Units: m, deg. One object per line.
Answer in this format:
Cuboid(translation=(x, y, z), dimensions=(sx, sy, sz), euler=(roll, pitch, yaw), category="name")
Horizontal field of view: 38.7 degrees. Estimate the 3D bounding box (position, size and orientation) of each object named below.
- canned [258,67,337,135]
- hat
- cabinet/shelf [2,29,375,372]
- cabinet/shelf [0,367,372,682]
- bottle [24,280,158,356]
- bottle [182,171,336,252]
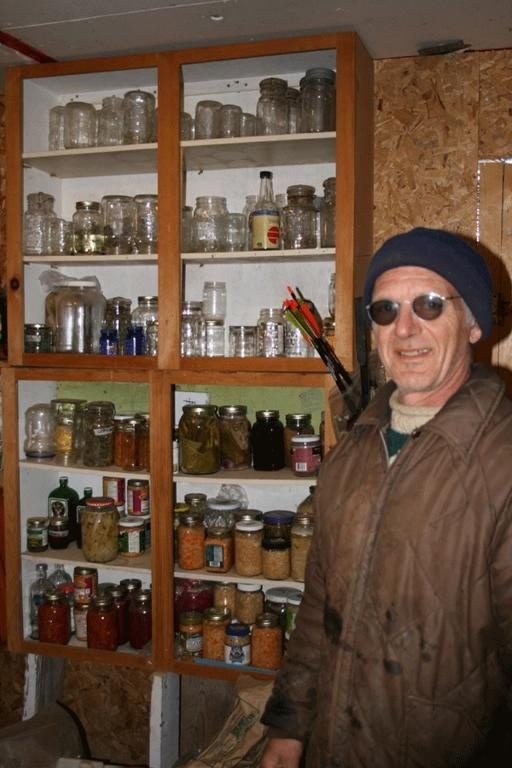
Cuboid(translation=(0.129, -0.821, 2.146), dimensions=(0.286, 0.168, 0.143), euler=(5, 10, 30), category="canned")
Cuboid(translation=(0.306, -0.210, 1.266), dimensions=(0.174, 0.210, 0.109), euler=(-7, 42, 35), category="hat")
Cuboid(translation=(-0.194, -0.575, 2.251), dimensions=(1.083, 0.869, 0.269), euler=(1, 0, 11), category="cabinet/shelf")
Cuboid(translation=(-0.214, 0.404, 2.145), dimensions=(1.103, 0.958, 0.312), euler=(3, 2, 16), category="cabinet/shelf")
Cuboid(translation=(-0.523, -0.215, 2.423), dimensions=(0.415, 0.239, 0.227), euler=(2, 0, -2), category="bottle")
Cuboid(translation=(0.022, -0.527, 2.248), dimensions=(0.356, 0.173, 0.109), euler=(0, 1, 18), category="bottle")
